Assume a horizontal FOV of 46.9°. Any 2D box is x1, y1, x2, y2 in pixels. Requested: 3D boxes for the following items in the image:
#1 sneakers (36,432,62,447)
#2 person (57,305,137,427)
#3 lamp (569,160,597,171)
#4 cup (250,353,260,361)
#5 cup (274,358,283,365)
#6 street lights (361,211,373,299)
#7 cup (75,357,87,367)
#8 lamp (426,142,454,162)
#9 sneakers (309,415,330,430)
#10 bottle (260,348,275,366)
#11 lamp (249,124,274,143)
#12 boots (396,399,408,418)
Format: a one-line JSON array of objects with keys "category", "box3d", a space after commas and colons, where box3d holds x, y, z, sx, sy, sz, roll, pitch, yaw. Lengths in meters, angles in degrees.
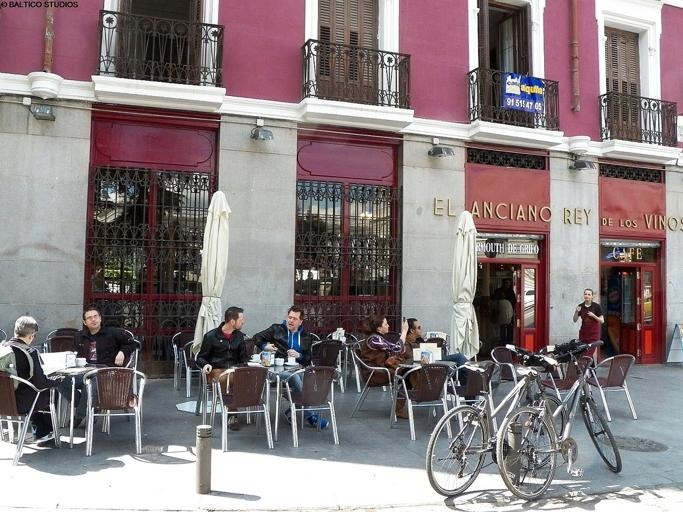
[{"category": "sneakers", "box3d": [-4.388, 2.727, 11.708, 0.237, 0.103, 0.259, 5, -3, -25]}, {"category": "person", "box3d": [-3.944, 1.706, 12.467, 0.914, 1.870, 1.089, -6, -10, 11]}, {"category": "lamp", "box3d": [5.714, -2.137, 18.464, 0.646, 0.276, 0.473, -4, 10, -30]}, {"category": "cup", "box3d": [-1.409, 1.613, 12.642, 0.139, 0.115, 0.099, -2, -4, 23]}, {"category": "cup", "box3d": [-0.993, 1.653, 12.494, 0.088, 0.075, 0.107, -1, -9, 11]}, {"category": "street lights", "box3d": [0.523, -0.066, 16.803, 0.220, 1.733, 0.404, 1, 8, -3]}, {"category": "cup", "box3d": [-4.001, 1.604, 12.038, 0.136, 0.110, 0.103, 8, -11, -39]}, {"category": "lamp", "box3d": [2.273, -2.288, 17.213, 0.657, 0.322, 0.542, -3, 10, -27]}, {"category": "sneakers", "box3d": [-0.374, 2.671, 12.755, 0.316, 0.151, 0.187, -4, 6, 38]}, {"category": "bottle", "box3d": [-1.179, 1.619, 12.520, 0.137, 0.265, 0.243, 1, -1, -10]}, {"category": "lamp", "box3d": [-1.636, -2.486, 15.976, 0.463, 0.309, 0.420, 0, 9, -7]}, {"category": "boots", "box3d": [1.024, 2.563, 13.371, 0.151, 0.313, 0.298, -4, 10, -34]}]
